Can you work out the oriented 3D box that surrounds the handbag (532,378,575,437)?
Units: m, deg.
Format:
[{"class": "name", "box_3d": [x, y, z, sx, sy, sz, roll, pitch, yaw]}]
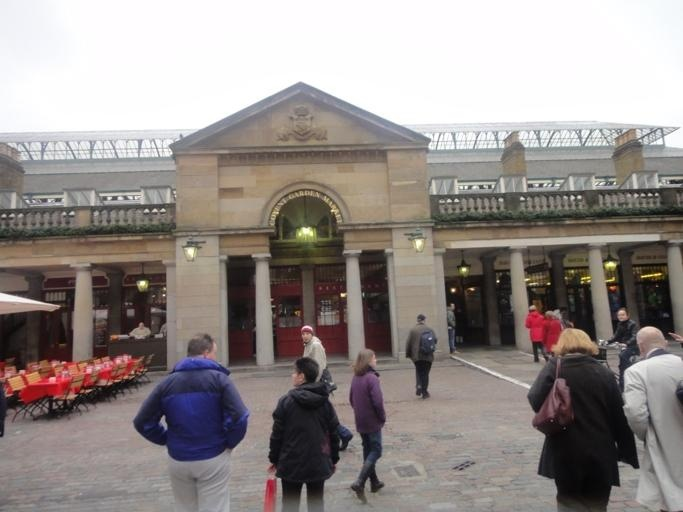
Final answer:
[{"class": "handbag", "box_3d": [2.736, 1.929, 7.205, 0.336, 0.682, 0.526, 10, -26, -15]}]

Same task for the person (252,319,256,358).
[{"class": "person", "box_3d": [-3.642, 3.362, 23.228, 0.121, 1.440, 0.196, -1, -6, -24]}]

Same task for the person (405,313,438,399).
[{"class": "person", "box_3d": [1.972, 2.474, 13.920, 0.716, 2.038, 1.205, -4, -5, 6]}]

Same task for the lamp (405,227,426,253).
[{"class": "lamp", "box_3d": [2.514, -0.554, 19.536, 0.890, 0.880, 0.579, -2, -1, 23]}]

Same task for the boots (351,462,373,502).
[{"class": "boots", "box_3d": [0.309, 3.454, 8.640, 0.290, 0.503, 0.475, -6, -6, 28]}]

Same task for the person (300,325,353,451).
[{"class": "person", "box_3d": [-0.540, 2.443, 11.986, 0.778, 1.850, 0.561, 7, -6, -44]}]

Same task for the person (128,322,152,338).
[{"class": "person", "box_3d": [-8.020, 2.916, 22.263, 0.645, 0.865, 0.474, 2, -14, -25]}]

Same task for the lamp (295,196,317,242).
[{"class": "lamp", "box_3d": [-1.412, -1.491, 21.983, 0.712, 1.903, 2.233, -3, -5, -4]}]

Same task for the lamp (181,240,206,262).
[{"class": "lamp", "box_3d": [-4.961, -0.204, 18.917, 0.447, 0.609, 0.924, -2, -8, 1]}]
